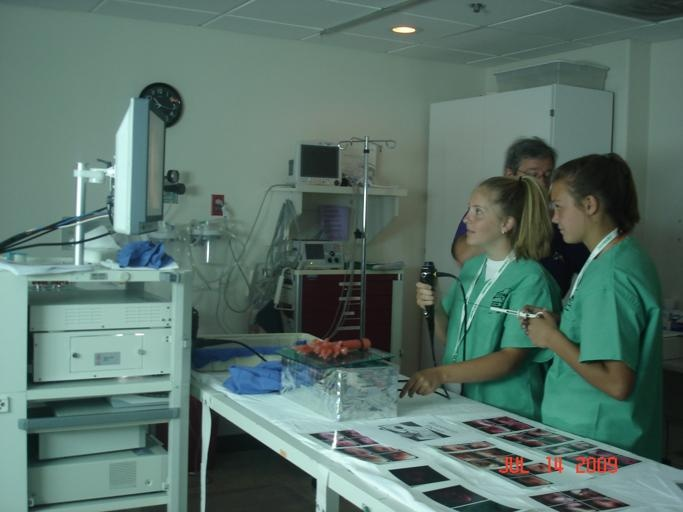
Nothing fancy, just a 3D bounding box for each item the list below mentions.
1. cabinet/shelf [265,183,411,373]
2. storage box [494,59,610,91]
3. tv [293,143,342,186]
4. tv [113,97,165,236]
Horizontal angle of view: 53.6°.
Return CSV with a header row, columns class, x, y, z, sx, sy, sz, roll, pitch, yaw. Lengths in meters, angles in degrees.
class,x,y,z,sx,sy,sz,roll,pitch,yaw
cabinet/shelf,0.008,0.218,5.011,0.825,1.275,0.685,-4,3,-7
storage box,1.421,-1.267,4.820,0.424,0.103,0.404,-2,3,-27
tv,-0.168,-0.648,4.760,0.319,0.285,0.083,-3,13,-12
tv,-0.821,-0.356,2.720,0.222,0.531,0.499,-3,13,-14
